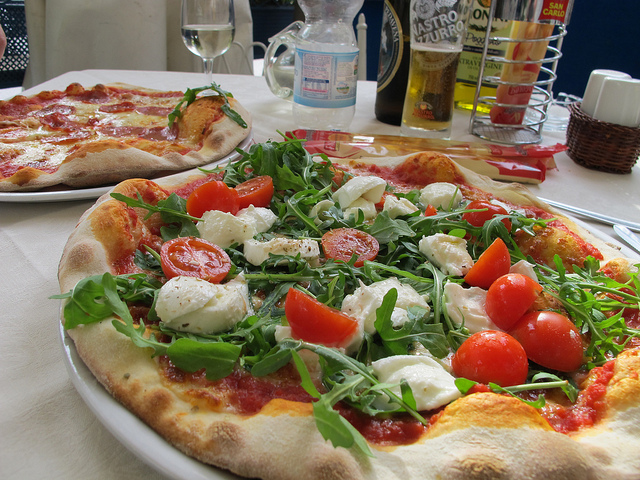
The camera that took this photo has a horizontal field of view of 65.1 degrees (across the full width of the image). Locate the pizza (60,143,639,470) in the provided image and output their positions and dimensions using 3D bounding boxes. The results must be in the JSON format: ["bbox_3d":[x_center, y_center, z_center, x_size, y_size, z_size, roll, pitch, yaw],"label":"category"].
[{"bbox_3d":[0.098,0.061,1.447,1.601,0.343,1.185,4,28,1],"label":"pizza"}]

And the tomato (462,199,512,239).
[{"bbox_3d":[0.557,-0.079,1.680,0.136,0.112,0.130,25,10,9],"label":"tomato"}]

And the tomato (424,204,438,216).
[{"bbox_3d":[0.377,-0.105,1.731,0.020,0.030,0.037,-33,5,-29],"label":"tomato"}]

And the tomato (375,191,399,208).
[{"bbox_3d":[0.242,-0.147,1.836,0.063,0.060,0.019,-1,-8,-39],"label":"tomato"}]

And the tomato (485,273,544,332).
[{"bbox_3d":[0.499,0.159,1.356,0.117,0.154,0.105,37,2,36],"label":"tomato"}]

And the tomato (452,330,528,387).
[{"bbox_3d":[0.396,0.265,1.187,0.137,0.133,0.132,3,10,33],"label":"tomato"}]

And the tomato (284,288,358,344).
[{"bbox_3d":[-0.001,0.198,1.267,0.140,0.085,0.128,15,-8,-8],"label":"tomato"}]

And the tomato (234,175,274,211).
[{"bbox_3d":[-0.226,-0.176,1.735,0.121,0.075,0.120,-23,14,-12],"label":"tomato"}]
